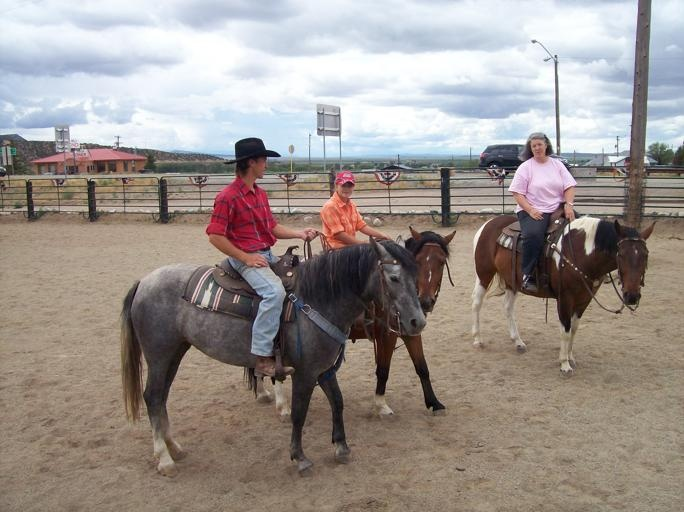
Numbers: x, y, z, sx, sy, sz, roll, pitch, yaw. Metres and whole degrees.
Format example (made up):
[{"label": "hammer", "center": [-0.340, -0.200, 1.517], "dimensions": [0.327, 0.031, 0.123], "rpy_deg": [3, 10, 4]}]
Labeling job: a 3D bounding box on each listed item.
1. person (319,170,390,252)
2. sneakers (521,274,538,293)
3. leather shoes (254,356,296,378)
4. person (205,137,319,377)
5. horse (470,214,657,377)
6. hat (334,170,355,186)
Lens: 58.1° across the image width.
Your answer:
[{"label": "person", "center": [0.017, -0.597, 7.247], "dimensions": [0.881, 1.038, 0.632], "rpy_deg": [4, 16, 19]}, {"label": "sneakers", "center": [2.504, 0.368, 8.233], "dimensions": [0.146, 0.263, 0.255], "rpy_deg": [0, 1, -9]}, {"label": "leather shoes", "center": [-0.657, 1.063, 5.997], "dimensions": [0.409, 0.311, 0.157], "rpy_deg": [-3, 3, -1]}, {"label": "person", "center": [-0.883, 0.005, 5.979], "dimensions": [0.698, 2.247, 0.744], "rpy_deg": [-6, 10, -12]}, {"label": "horse", "center": [2.830, 0.487, 8.493], "dimensions": [0.838, 2.076, 2.888], "rpy_deg": [-6, 11, -30]}, {"label": "hat", "center": [0.040, -0.866, 6.849], "dimensions": [0.138, 0.135, 0.211], "rpy_deg": [6, 1, -6]}]
